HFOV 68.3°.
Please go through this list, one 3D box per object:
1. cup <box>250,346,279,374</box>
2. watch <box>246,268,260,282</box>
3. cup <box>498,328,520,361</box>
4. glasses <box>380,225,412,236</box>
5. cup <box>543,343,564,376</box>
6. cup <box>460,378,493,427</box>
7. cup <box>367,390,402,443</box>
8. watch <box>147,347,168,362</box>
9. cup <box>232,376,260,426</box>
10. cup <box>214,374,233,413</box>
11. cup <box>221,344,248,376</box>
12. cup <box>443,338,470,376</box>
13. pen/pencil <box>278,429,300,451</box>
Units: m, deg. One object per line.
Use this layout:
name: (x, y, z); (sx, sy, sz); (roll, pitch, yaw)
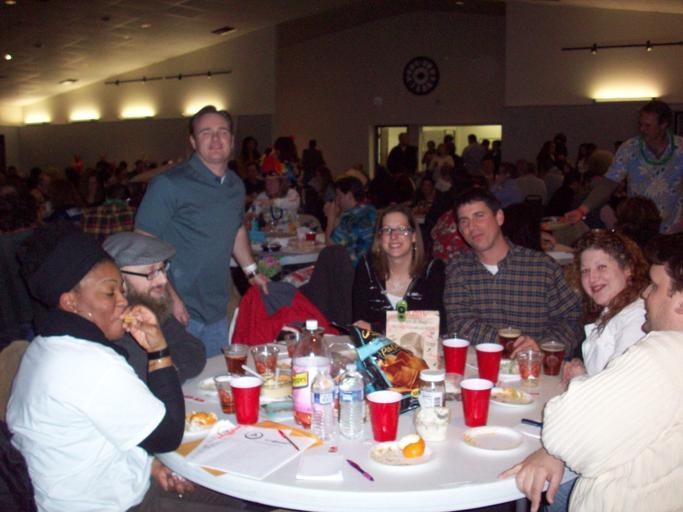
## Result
cup: (-0.293, 0.391, 1.932); (0.101, 0.087, 0.109); (0, -3, 0)
watch: (-0.554, 0.111, 3.135); (0.084, 0.055, 0.081); (-23, 1, 2)
cup: (0.700, 0.372, 2.104); (0.107, 0.116, 0.104); (1, 8, 0)
glasses: (0.293, -0.134, 2.662); (0.152, 0.049, 0.046); (-3, 5, 5)
cup: (0.856, 0.419, 2.040); (0.110, 0.122, 0.115); (0, -3, 0)
cup: (0.412, 0.481, 1.671); (0.131, 0.142, 0.132); (1, -6, 0)
cup: (0.133, 0.478, 1.522); (0.133, 0.136, 0.135); (0, -9, 0)
watch: (-0.603, 0.326, 1.665); (0.046, 0.019, 0.045); (-9, 3, -25)
cup: (-0.310, 0.471, 1.647); (0.137, 0.153, 0.134); (-1, -6, 0)
cup: (-0.404, 0.477, 1.758); (0.108, 0.119, 0.107); (-2, -5, 0)
cup: (-0.408, 0.400, 1.965); (0.110, 0.100, 0.104); (0, -3, 0)
cup: (0.430, 0.378, 1.910); (0.121, 0.131, 0.126); (0, -2, 0)
pen/pencil: (-0.163, 0.564, 1.554); (0.024, 0.014, 0.173); (-16, 12, -17)
